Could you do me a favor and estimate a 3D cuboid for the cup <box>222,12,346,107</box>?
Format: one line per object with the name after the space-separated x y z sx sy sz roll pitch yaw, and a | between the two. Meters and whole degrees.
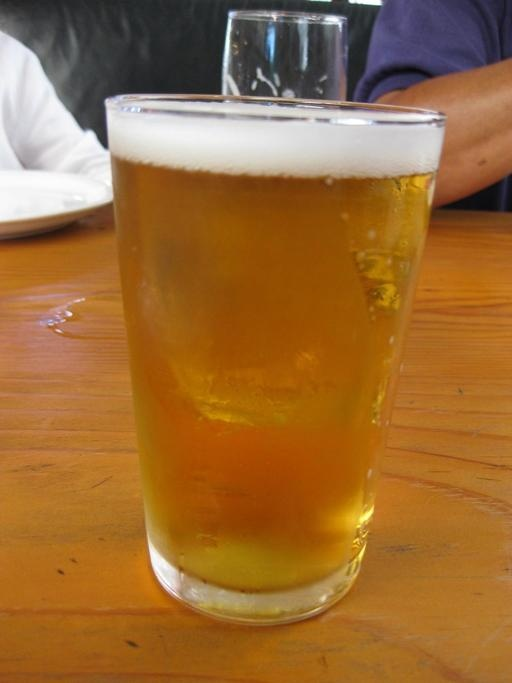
0.031 -0.311 0.746 0.137 0.092 0.135 -1 33 1 | cup

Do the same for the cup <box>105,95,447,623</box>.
-0.002 0.005 0.310 0.139 0.227 0.149 -1 35 1 | cup
